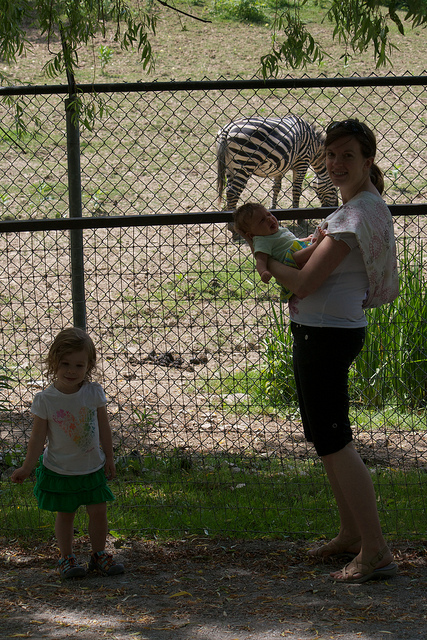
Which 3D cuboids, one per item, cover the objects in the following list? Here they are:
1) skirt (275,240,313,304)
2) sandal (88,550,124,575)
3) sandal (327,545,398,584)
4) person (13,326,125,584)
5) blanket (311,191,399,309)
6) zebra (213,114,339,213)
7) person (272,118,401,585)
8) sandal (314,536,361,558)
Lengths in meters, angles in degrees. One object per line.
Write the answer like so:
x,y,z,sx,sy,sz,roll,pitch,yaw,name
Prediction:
0.310,-0.188,3.208,0.132,0.228,0.136,-12,25,-32,skirt
-0.446,0.992,3.369,0.188,0.070,0.069,3,5,27,sandal
0.605,0.960,3.223,0.289,0.104,0.114,-5,6,1,sandal
-0.623,0.525,3.557,0.422,1.026,0.772,-2,9,-6,person
0.595,-0.258,3.055,0.402,0.445,0.190,-5,10,-23,blanket
0.785,-1.765,9.504,2.264,1.087,0.595,-12,20,-41,zebra
0.485,0.132,3.188,0.489,1.801,0.401,0,10,9,person
0.516,0.945,3.431,0.224,0.071,0.074,2,1,13,sandal
